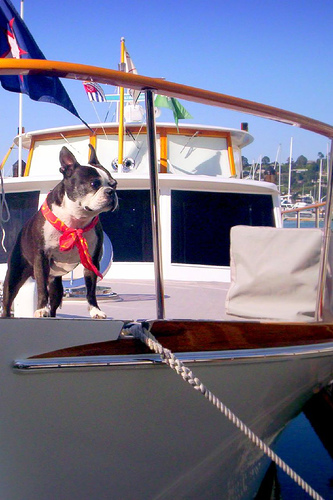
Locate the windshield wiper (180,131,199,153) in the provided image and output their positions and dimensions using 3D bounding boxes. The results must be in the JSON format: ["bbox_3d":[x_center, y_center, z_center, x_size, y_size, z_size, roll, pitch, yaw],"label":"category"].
[{"bbox_3d":[0.230,-1.113,4.751,0.063,0.255,0.018,34,-7,7],"label":"windshield wiper"}]

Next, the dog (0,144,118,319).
[{"bbox_3d":[-0.439,-0.067,1.842,0.414,0.684,0.488,-8,11,-41],"label":"dog"}]
